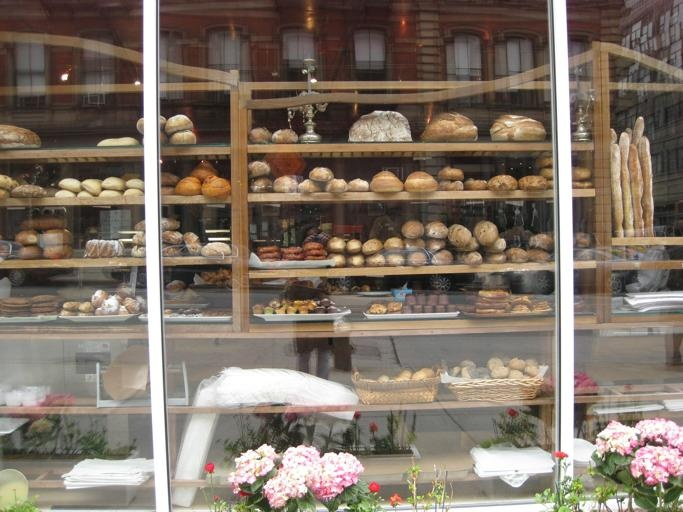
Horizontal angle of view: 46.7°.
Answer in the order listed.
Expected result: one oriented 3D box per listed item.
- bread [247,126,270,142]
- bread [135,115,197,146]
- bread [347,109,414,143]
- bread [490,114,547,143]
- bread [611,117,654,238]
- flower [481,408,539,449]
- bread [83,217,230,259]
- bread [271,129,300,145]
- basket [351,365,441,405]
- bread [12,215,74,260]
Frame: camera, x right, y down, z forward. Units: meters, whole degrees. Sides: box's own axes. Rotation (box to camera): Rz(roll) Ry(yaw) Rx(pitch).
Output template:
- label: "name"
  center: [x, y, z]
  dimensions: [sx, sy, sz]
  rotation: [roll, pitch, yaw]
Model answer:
- label: "bread"
  center: [-0.440, -0.650, 4.255]
  dimensions: [0.107, 0.078, 0.025]
  rotation: [-10, 11, -15]
- label: "bread"
  center: [-0.893, -0.648, 4.130]
  dimensions: [0.253, 0.077, 0.172]
  rotation: [1, 0, 21]
- label: "bread"
  center: [0.222, -0.650, 4.232]
  dimensions: [0.321, 0.115, 0.211]
  rotation: [-1, 5, -8]
- label: "bread"
  center: [0.919, -0.666, 4.183]
  dimensions: [0.172, 0.062, 0.205]
  rotation: [0, 2, -23]
- label: "bread"
  center: [1.526, -0.412, 4.174]
  dimensions: [0.278, 0.632, 0.115]
  rotation: [-8, 6, -31]
- label: "flower"
  center: [0.897, 0.897, 4.147]
  dimensions: [0.210, 0.118, 0.249]
  rotation: [-3, -7, 3]
- label: "bread"
  center: [-0.959, -0.082, 4.073]
  dimensions: [0.764, 0.223, 0.230]
  rotation: [-3, 5, -6]
- label: "bread"
  center: [-0.305, -0.639, 4.274]
  dimensions: [0.093, 0.042, 0.115]
  rotation: [1, -4, -32]
- label: "basket"
  center: [0.301, 0.701, 4.292]
  dimensions: [0.401, 0.110, 0.209]
  rotation: [-1, -6, -4]
- label: "bread"
  center: [-1.581, -0.089, 4.159]
  dimensions: [0.302, 0.227, 0.104]
  rotation: [0, -8, 6]
